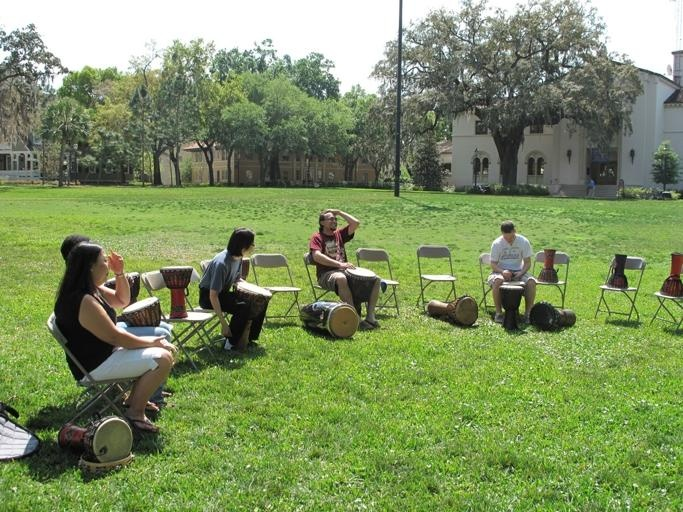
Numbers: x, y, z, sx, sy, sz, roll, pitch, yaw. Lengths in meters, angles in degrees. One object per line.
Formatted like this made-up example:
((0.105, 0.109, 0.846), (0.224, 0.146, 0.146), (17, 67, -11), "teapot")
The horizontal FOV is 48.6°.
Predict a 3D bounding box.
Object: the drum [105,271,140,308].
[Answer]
((-2.815, 0.410, 9.812), (0.387, 0.406, 0.418), (0, 4, -23), "drum")

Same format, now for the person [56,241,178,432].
((-2.449, 0.878, 8.313), (1.100, 2.129, 0.840), (-3, 13, -6), "person")

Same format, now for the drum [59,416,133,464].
((-2.465, 1.866, 7.623), (0.412, 0.385, 0.601), (21, -24, -36), "drum")

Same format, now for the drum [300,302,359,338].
((-0.202, 0.929, 11.559), (0.908, 0.504, 0.409), (8, 14, 41), "drum")

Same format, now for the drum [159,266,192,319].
((-2.257, 0.459, 9.906), (0.517, 0.790, 0.539), (-2, -2, 0), "drum")

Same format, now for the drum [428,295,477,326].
((1.887, 0.843, 12.776), (0.419, 0.487, 0.911), (-8, 12, -34), "drum")

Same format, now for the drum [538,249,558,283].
((3.643, 0.129, 13.323), (0.317, 0.599, 0.559), (2, 11, 15), "drum")

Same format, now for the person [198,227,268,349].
((-1.506, 0.474, 10.531), (0.886, 1.828, 0.740), (10, 23, 6), "person")

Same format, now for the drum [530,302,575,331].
((3.430, 1.022, 12.392), (0.374, 0.384, 0.649), (25, 7, 33), "drum")

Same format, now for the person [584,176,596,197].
((17.941, -4.959, 54.314), (0.659, 1.094, 2.348), (2, 11, 17), "person")

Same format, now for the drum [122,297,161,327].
((-2.306, 0.689, 8.725), (0.336, 0.274, 0.339), (-21, 4, -29), "drum")

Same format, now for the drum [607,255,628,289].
((4.749, 0.218, 12.940), (0.318, 0.576, 0.448), (3, 11, 21), "drum")

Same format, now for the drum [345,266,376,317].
((0.235, 0.498, 12.203), (0.553, 0.743, 0.616), (0, -4, -5), "drum")
